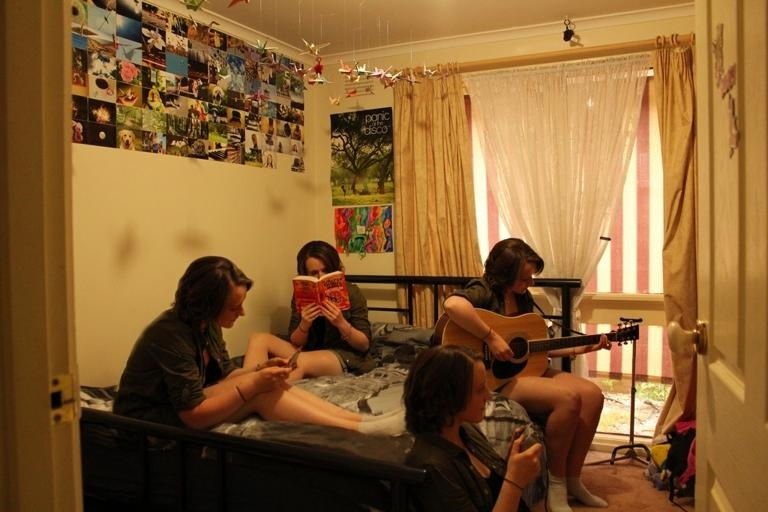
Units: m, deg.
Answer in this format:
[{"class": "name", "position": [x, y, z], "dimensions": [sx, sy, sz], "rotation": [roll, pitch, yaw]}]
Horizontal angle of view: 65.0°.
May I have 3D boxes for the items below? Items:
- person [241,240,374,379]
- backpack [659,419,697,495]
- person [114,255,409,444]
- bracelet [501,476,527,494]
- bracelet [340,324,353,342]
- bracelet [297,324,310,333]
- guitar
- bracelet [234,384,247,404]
[{"class": "person", "position": [-0.316, 0.359, 3.342], "dimensions": [0.482, 0.861, 0.854], "rotation": [-8, -16, 37]}, {"class": "backpack", "position": [1.474, 1.015, 3.007], "dimensions": [0.140, 0.325, 0.386], "rotation": [3, 4, 26]}, {"class": "person", "position": [-0.563, 0.338, 2.429], "dimensions": [0.993, 0.680, 0.414], "rotation": [0, 4, -13]}, {"class": "bracelet", "position": [0.418, 0.726, 1.944], "dimensions": [0.070, 0.017, 0.054], "rotation": [20, -4, 24]}, {"class": "bracelet", "position": [-0.207, 0.416, 3.291], "dimensions": [0.084, 0.086, 0.064], "rotation": [2, 7, 21]}, {"class": "bracelet", "position": [-0.441, 0.394, 3.292], "dimensions": [0.043, 0.046, 0.044], "rotation": [1, 3, -41]}, {"class": "guitar", "position": [0.823, 0.442, 3.016], "dimensions": [0.952, 0.417, 0.139], "rotation": [-5, -15, -3]}, {"class": "bracelet", "position": [-0.547, 0.524, 2.292], "dimensions": [0.014, 0.054, 0.055], "rotation": [-23, 14, -20]}]
